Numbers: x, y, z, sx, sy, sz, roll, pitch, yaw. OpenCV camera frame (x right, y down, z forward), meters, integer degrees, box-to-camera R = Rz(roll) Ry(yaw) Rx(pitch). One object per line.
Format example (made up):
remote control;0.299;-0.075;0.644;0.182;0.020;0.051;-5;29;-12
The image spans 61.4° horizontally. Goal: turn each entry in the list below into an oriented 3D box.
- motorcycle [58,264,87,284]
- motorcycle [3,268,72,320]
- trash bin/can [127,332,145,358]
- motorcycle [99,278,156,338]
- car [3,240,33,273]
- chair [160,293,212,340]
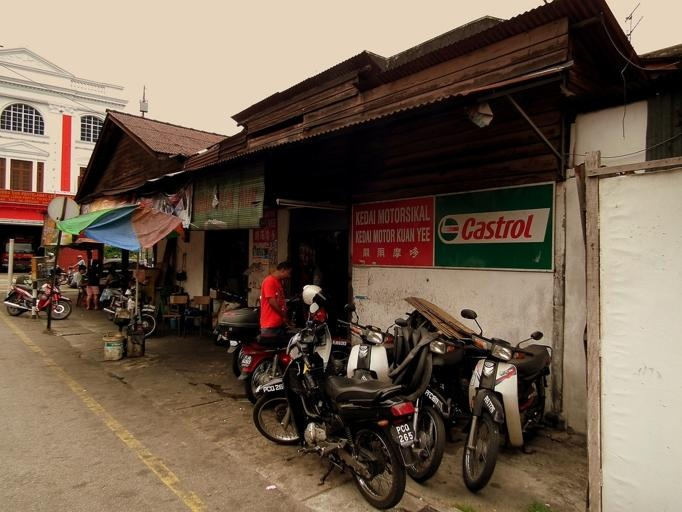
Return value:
motorcycle;-10.425;0.711;22.171;0.597;0.639;1.148;15;-1;-42
motorcycle;-7.860;1.006;14.828;2.228;1.492;1.087;0;-8;5
trash bin/can;-3.821;1.610;10.627;0.333;0.466;0.222;3;-3;-28
motorcycle;-4.812;1.178;12.963;1.190;0.776;0.825;23;-2;38
car;-16.061;-0.019;28.849;1.621;1.702;3.094;0;-2;-39
chair;-3.722;1.338;13.684;1.172;0.909;2.097;3;-4;-17
